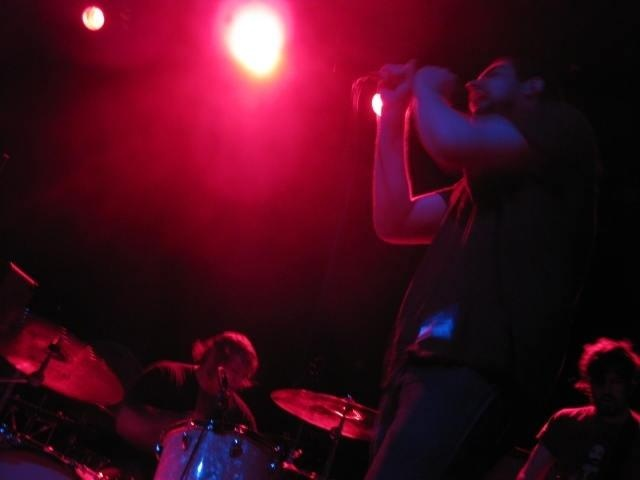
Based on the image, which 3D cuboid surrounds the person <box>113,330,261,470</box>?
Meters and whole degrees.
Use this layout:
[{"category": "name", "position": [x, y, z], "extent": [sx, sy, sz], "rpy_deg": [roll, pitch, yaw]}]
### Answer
[{"category": "person", "position": [-1.111, 1.576, 5.406], "extent": [0.783, 1.271, 1.450], "rpy_deg": [2, -29, 37]}]

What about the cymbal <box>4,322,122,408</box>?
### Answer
[{"category": "cymbal", "position": [-2.252, 1.150, 4.973], "extent": [1.077, 0.393, 0.787], "rpy_deg": [40, -35, -22]}]
